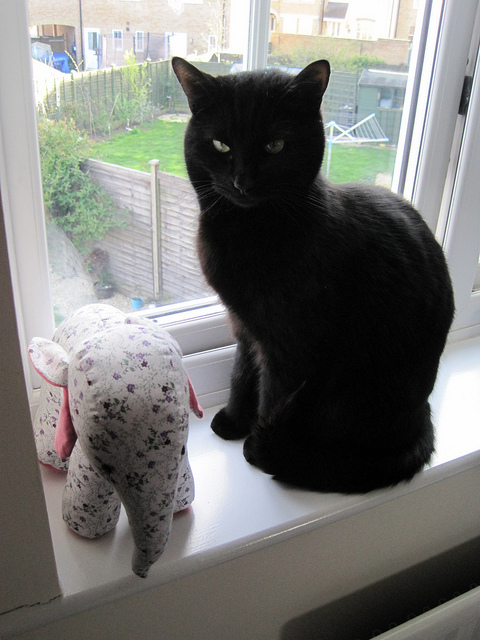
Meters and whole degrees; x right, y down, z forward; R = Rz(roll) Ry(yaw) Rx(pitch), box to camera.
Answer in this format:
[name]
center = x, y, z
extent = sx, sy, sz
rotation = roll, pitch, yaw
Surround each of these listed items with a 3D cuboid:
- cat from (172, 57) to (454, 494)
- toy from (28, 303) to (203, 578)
[cat]
center = 0.116, -0.055, 0.705
extent = 0.357, 0.504, 0.291
rotation = -2, 18, -11
[toy]
center = -0.133, 0.126, 0.551
extent = 0.127, 0.291, 0.219
rotation = -11, 33, -26
